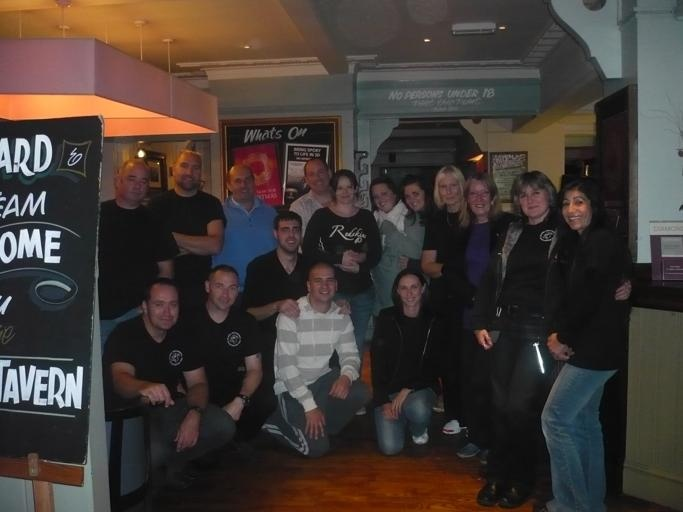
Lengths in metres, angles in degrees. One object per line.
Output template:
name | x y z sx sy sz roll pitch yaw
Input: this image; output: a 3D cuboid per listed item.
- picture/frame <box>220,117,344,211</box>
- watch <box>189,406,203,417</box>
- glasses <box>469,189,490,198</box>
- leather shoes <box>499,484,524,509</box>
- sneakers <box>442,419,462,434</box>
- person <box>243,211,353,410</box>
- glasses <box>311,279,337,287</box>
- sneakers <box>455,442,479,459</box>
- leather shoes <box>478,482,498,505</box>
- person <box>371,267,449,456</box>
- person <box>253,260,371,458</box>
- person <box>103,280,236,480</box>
picture/frame | -0.507 -0.877 5.797 1.551 1.017 0.349 0 1 3
watch | -0.871 0.937 3.697 0.056 0.022 0.057 19 -11 16
glasses | 0.911 -0.413 4.036 0.070 0.034 0.087 4 21 7
leather shoes | 0.962 1.375 3.475 0.152 0.063 0.079 8 -9 -41
sneakers | 0.785 1.215 4.346 0.120 0.064 0.170 2 3 8
person | -0.406 0.466 4.741 0.628 1.610 0.559 -9 24 -25
glasses | -0.120 0.170 4.086 0.154 0.049 0.037 0 1 -12
sneakers | 0.817 1.280 4.027 0.143 0.052 0.076 4 -4 -37
leather shoes | 0.839 1.367 3.509 0.094 0.109 0.115 1 1 42
person | 0.438 0.696 4.213 0.447 1.217 0.372 0 1 -9
person | -0.159 0.681 4.181 0.738 1.215 0.662 8 7 31
person | -1.098 0.800 3.735 0.734 1.231 0.717 -4 14 -42
